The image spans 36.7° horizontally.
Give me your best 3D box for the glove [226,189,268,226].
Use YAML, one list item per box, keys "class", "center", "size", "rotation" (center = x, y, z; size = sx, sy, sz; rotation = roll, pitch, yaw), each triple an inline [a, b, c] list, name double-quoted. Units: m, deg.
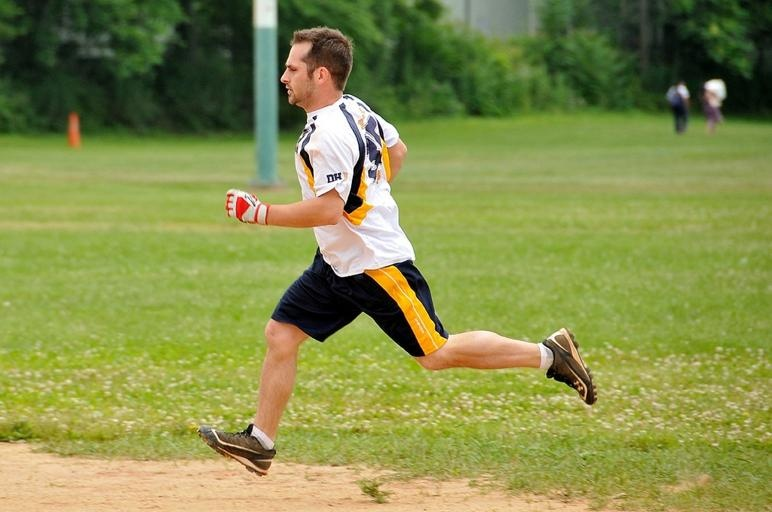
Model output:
- class: "glove"
  center: [-0.908, -0.315, 7.643]
  size: [0.276, 0.226, 0.237]
  rotation: [-1, 8, 1]
